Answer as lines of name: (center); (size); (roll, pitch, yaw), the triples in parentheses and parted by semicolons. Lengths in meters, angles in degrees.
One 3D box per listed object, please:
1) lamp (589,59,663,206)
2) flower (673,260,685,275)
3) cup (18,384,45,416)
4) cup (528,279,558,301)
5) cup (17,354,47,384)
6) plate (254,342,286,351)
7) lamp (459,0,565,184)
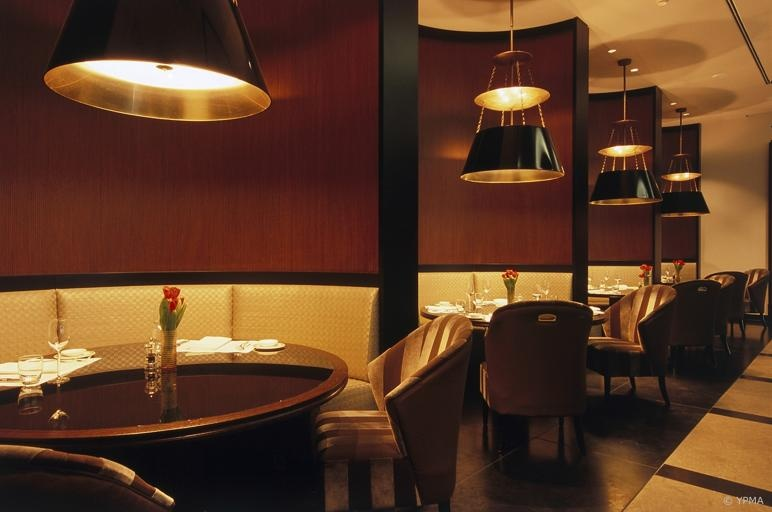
lamp: (3.203, -1.666, 8.448); (0.879, 2.041, 2.989); (0, 1, 23)
flower: (4.597, 0.168, 9.907); (0.223, 0.216, 0.221); (5, -8, 8)
cup: (-2.329, 0.946, 4.130); (0.162, 0.153, 0.157); (-3, -4, 0)
cup: (1.761, 0.375, 7.011); (0.198, 0.188, 0.332); (-8, 0, -19)
cup: (-2.431, 0.781, 4.333); (0.151, 0.184, 0.227); (-1, 1, -30)
plate: (-0.901, 0.704, 4.906); (0.244, 0.054, 0.126); (0, 1, -10)
lamp: (1.320, -1.860, 6.801); (1.133, 2.193, 2.180); (0, 1, 14)
